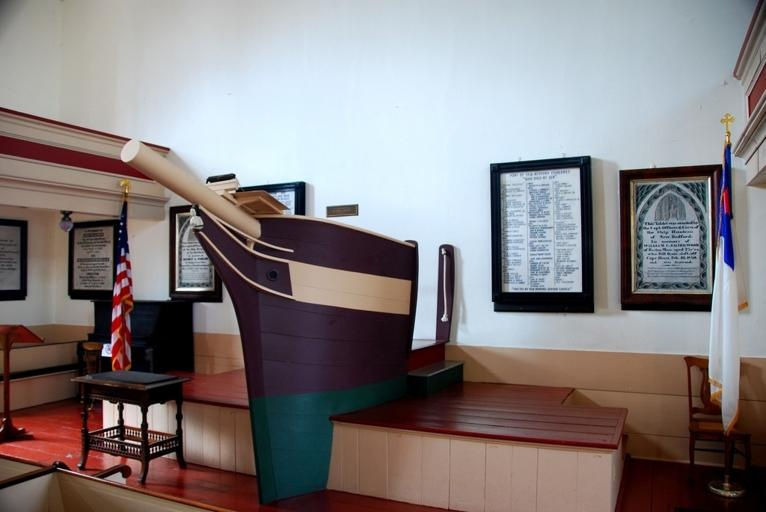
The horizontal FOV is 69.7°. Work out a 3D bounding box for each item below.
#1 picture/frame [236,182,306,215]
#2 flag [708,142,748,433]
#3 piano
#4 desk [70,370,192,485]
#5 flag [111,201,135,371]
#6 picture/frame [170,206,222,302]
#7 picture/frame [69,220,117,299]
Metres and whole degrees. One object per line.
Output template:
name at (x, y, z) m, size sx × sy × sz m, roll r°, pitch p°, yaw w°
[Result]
picture/frame at (-1.155, -0.591, 5.850) m, size 0.611 × 0.439 × 0.338 m, roll 2°, pitch 6°, yaw 26°
flag at (3.162, 0.262, 5.097) m, size 0.234 × 2.637 × 0.420 m, roll 0°, pitch -1°, yaw 31°
piano at (-3.382, 1.030, 7.573) m, size 1.371 × 1.017 × 1.299 m, roll 4°, pitch 5°, yaw 18°
desk at (-2.543, 1.685, 5.615) m, size 1.029 × 0.974 × 0.593 m, roll 0°, pitch -1°, yaw 20°
flag at (-3.276, 0.359, 6.843) m, size 0.215 × 2.069 × 0.545 m, roll 1°, pitch -1°, yaw -27°
picture/frame at (-2.691, -0.023, 7.730) m, size 0.957 × 1.360 × 0.212 m, roll -1°, pitch -1°, yaw 32°
picture/frame at (-4.367, 0.045, 8.277) m, size 1.078 × 1.295 × 0.139 m, roll 4°, pitch 4°, yaw 28°
